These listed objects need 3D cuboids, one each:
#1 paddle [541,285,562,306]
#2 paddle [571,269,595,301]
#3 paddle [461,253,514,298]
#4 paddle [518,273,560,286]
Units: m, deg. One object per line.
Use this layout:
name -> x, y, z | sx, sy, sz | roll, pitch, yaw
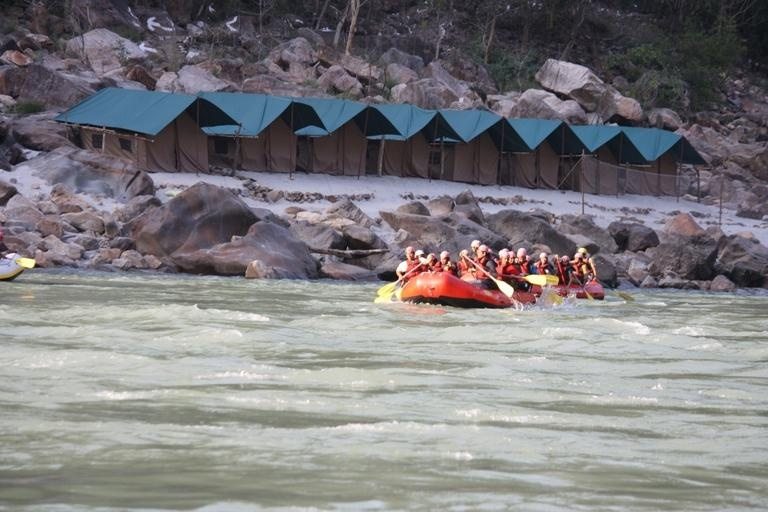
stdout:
paddle -> 7.203, 1.845, 56.239 | 0.846, 0.245, 0.780 | 24, 64, -17
paddle -> 8.778, 1.382, 58.078 | 1.894, 0.189, 0.269 | 43, 62, 9
paddle -> 4.438, 0.953, 55.738 | 3.180, 0.154, 0.341 | 36, 68, 24
paddle -> 6.805, 1.095, 55.975 | 1.213, 0.287, 0.626 | 7, 6, -23
